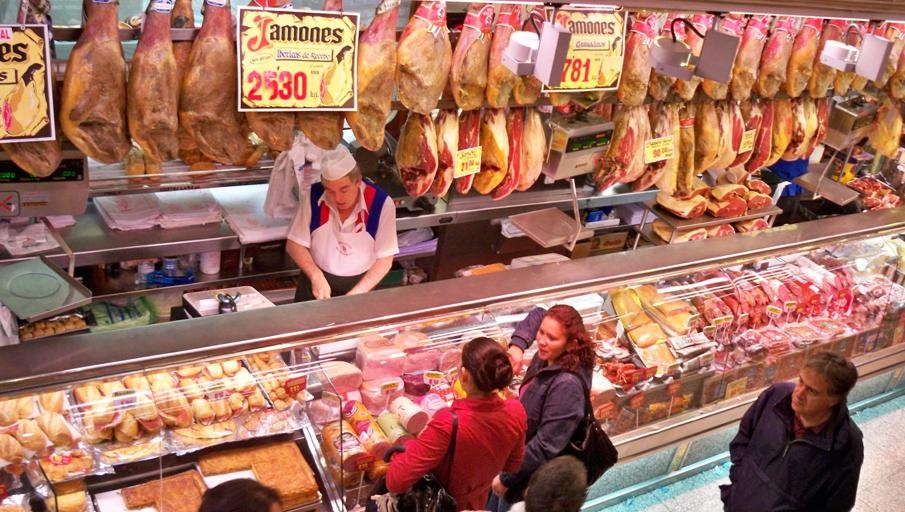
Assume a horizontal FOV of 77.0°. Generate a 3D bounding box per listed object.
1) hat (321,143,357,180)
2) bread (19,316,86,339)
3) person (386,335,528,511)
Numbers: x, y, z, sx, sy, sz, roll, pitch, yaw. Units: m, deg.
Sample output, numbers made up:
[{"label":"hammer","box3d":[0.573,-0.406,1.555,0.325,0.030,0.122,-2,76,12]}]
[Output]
[{"label":"hat","box3d":[-0.853,-0.720,4.215,0.243,0.132,0.281,0,35,-2]},{"label":"bread","box3d":[-2.535,0.450,3.583,0.380,0.069,0.206,-5,20,-13]},{"label":"person","box3d":[0.014,0.996,3.140,0.789,1.035,0.349,-11,6,1]}]
